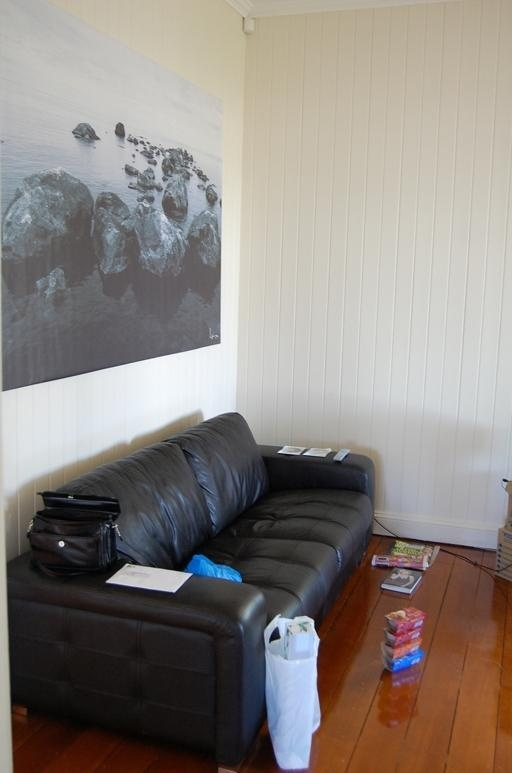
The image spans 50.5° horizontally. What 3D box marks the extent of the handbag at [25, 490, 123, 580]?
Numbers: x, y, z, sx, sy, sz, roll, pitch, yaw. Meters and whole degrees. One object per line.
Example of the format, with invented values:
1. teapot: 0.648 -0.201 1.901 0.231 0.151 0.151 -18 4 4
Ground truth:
1. handbag: -0.602 0.468 1.848 0.295 0.297 0.231 4 12 9
